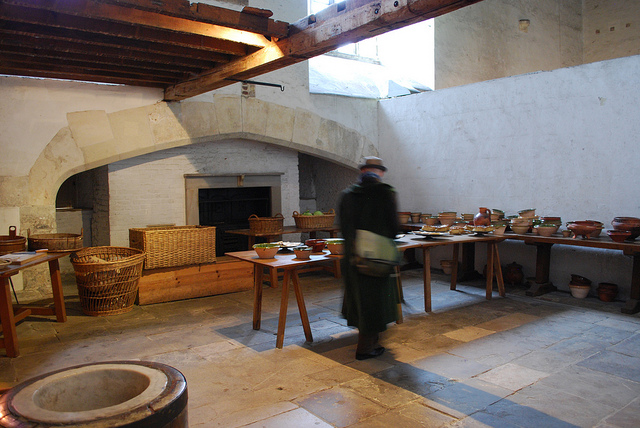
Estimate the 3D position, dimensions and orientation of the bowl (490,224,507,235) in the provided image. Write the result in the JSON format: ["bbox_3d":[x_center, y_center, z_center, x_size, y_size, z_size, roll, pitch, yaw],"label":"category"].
[{"bbox_3d":[2.859,0.253,6.443,0.190,0.112,0.176,1,-1,0],"label":"bowl"}]

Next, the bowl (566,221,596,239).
[{"bbox_3d":[3.938,0.227,6.065,0.320,0.163,0.289,-1,5,-10],"label":"bowl"}]

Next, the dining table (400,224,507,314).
[{"bbox_3d":[1.963,0.840,6.408,2.263,0.922,1.138,-4,1,-31],"label":"dining table"}]

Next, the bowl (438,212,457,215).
[{"bbox_3d":[2.351,-0.023,7.440,0.277,0.042,0.236,2,8,12],"label":"bowl"}]

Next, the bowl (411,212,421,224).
[{"bbox_3d":[1.919,0.078,8.135,0.209,0.155,0.190,2,7,0],"label":"bowl"}]

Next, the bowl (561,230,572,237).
[{"bbox_3d":[3.818,0.295,6.256,0.108,0.063,0.096,1,4,-7],"label":"bowl"}]

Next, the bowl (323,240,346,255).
[{"bbox_3d":[0.173,0.401,5.067,0.164,0.179,0.448,-6,10,-28],"label":"bowl"}]

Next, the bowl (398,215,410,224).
[{"bbox_3d":[1.535,0.092,7.461,0.190,0.110,0.175,-1,-3,0],"label":"bowl"}]

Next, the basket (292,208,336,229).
[{"bbox_3d":[-0.176,-0.012,7.984,0.673,0.271,0.358,-1,3,-30],"label":"basket"}]

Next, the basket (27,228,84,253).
[{"bbox_3d":[-3.691,0.380,5.597,0.812,0.227,0.571,7,11,41],"label":"basket"}]

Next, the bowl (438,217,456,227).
[{"bbox_3d":[2.303,0.123,7.393,0.331,0.155,0.237,4,10,27],"label":"bowl"}]

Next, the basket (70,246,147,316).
[{"bbox_3d":[-3.169,1.005,5.937,1.011,0.725,0.916,-1,-1,-44],"label":"basket"}]

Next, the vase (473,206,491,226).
[{"bbox_3d":[2.796,0.056,6.916,0.272,0.316,0.384,-6,-13,41],"label":"vase"}]

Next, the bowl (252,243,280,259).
[{"bbox_3d":[-0.684,0.464,5.085,0.311,0.157,0.294,0,9,0],"label":"bowl"}]

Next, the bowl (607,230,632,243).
[{"bbox_3d":[4.256,0.308,5.714,0.218,0.074,0.210,-2,3,0],"label":"bowl"}]

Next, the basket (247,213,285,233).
[{"bbox_3d":[-1.027,0.177,7.511,0.641,0.291,0.346,0,9,4],"label":"basket"}]
